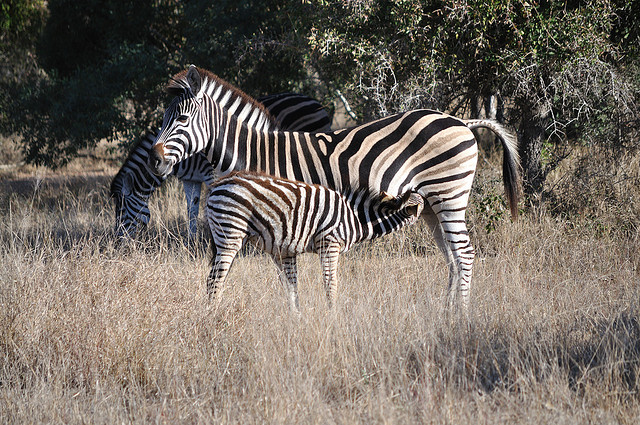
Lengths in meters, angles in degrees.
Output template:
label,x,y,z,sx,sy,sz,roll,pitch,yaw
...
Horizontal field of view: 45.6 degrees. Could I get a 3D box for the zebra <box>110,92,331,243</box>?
label,x,y,z,sx,sy,sz,roll,pitch,yaw
zebra,-1.362,-0.602,10.865,3.323,2.087,0.888,-22,16,-8
